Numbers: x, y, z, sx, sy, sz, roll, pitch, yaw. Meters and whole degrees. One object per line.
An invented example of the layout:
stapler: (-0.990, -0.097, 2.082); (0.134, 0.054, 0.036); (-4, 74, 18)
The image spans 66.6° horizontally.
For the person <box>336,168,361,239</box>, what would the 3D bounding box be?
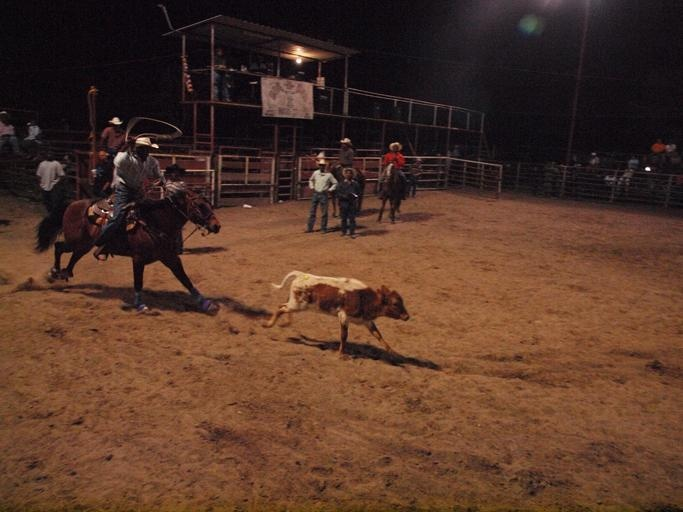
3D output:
person: (0.174, -1.639, 15.047); (0.643, 1.959, 1.126); (5, 11, 0)

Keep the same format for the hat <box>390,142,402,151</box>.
hat: (1.808, -3.715, 17.232); (0.273, 0.273, 0.525); (7, 10, 15)

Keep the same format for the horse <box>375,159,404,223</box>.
horse: (1.716, -2.284, 17.755); (0.890, 1.975, 2.478); (6, 10, 3)

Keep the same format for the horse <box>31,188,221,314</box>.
horse: (-3.828, -0.318, 9.111); (4.378, 2.114, 1.042); (9, 7, 26)

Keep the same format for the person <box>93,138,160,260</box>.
person: (-3.526, -0.989, 8.616); (1.016, 2.085, 0.675); (-2, 13, -30)

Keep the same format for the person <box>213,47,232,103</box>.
person: (-4.553, -7.029, 19.873); (0.675, 1.949, 1.159); (3, 11, -12)

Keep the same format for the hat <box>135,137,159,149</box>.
hat: (-3.118, -1.893, 8.406); (0.215, 0.179, 0.432); (7, 10, 17)

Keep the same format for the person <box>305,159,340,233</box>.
person: (-0.598, -1.917, 15.834); (0.801, 2.234, 1.315); (4, 11, -4)
